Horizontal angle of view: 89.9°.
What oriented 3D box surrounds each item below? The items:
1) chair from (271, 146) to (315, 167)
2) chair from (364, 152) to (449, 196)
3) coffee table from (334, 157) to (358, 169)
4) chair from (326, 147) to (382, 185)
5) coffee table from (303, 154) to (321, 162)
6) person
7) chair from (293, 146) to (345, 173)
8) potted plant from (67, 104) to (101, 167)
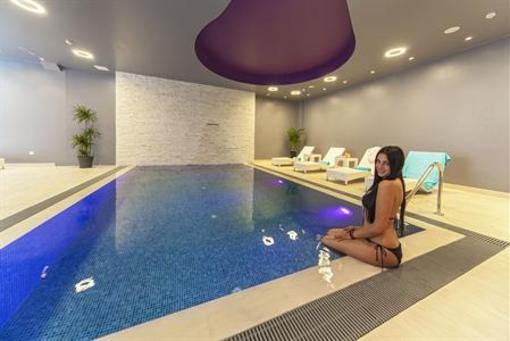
[{"bbox_3d":[1.658,-0.550,11.147,1.721,0.894,0.881,0,1,-29],"label":"chair"},{"bbox_3d":[3.980,0.251,6.559,1.942,1.018,1.269,-7,5,-20],"label":"chair"},{"bbox_3d":[3.217,-0.325,8.958,0.552,0.570,0.536,-2,4,-22],"label":"coffee table"},{"bbox_3d":[2.922,-0.174,7.490,1.555,0.751,0.801,-10,14,-24],"label":"chair"},{"bbox_3d":[2.490,-0.560,11.084,0.537,0.539,0.547,7,11,42],"label":"coffee table"},{"bbox_3d":[1.619,0.462,3.644,0.923,1.626,0.490,7,11,31],"label":"person"},{"bbox_3d":[2.418,-0.400,9.375,1.737,0.828,0.661,-4,8,-20],"label":"chair"},{"bbox_3d":[-5.878,-1.202,9.026,0.857,2.139,0.815,-1,10,-13],"label":"potted plant"}]
